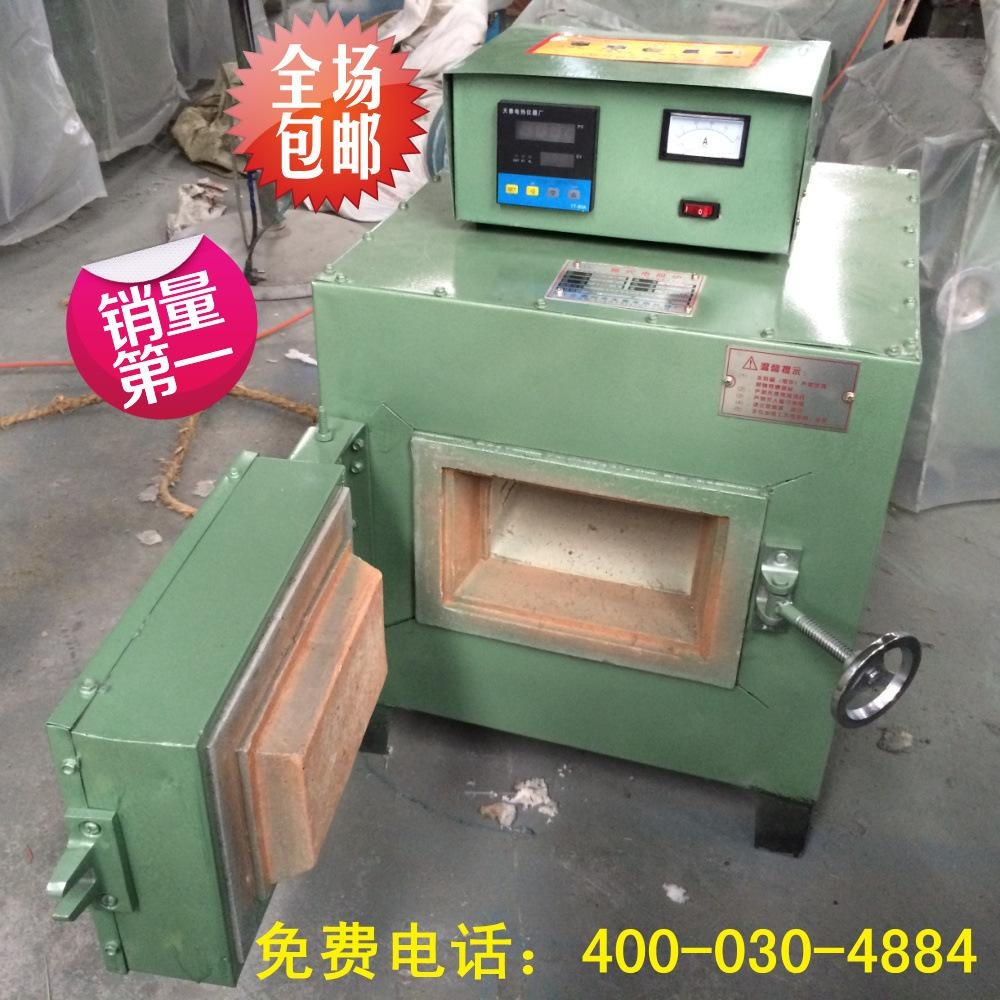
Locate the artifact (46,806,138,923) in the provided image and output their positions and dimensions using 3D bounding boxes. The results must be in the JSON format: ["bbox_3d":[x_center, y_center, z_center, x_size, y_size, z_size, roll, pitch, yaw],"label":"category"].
[{"bbox_3d":[-0.392,0.358,0.811,0.056,0.124,0.066,-1,26,-10],"label":"artifact"}]

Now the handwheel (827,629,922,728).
[{"bbox_3d":[0.469,0.226,1.077,0.121,0.132,0.033,-25,33,-6],"label":"handwheel"}]

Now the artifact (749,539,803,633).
[{"bbox_3d":[0.410,0.143,1.262,0.055,0.159,0.047,3,35,9],"label":"artifact"}]
